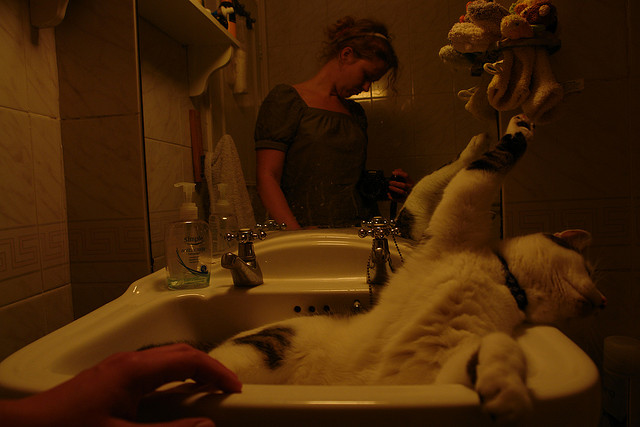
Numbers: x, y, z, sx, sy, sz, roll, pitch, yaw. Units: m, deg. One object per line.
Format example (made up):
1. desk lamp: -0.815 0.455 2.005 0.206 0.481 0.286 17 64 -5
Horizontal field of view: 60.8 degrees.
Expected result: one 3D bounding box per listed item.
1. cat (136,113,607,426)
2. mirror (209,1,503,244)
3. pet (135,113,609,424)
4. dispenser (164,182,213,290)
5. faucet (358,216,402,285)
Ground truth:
1. cat: 0.001 0.298 1.130 1.042 0.369 0.693 -12 13 15
2. mirror: 0.091 -0.303 1.453 0.400 0.720 0.554 0 12 -13
3. pet: 0.176 0.074 1.003 0.699 0.523 0.357 -2 2 -12
4. dispenser: -0.308 0.049 1.283 0.105 0.259 0.062 -3 14 -28
5. faucet: 0.144 0.080 1.304 0.116 0.170 0.127 -1 3 3
